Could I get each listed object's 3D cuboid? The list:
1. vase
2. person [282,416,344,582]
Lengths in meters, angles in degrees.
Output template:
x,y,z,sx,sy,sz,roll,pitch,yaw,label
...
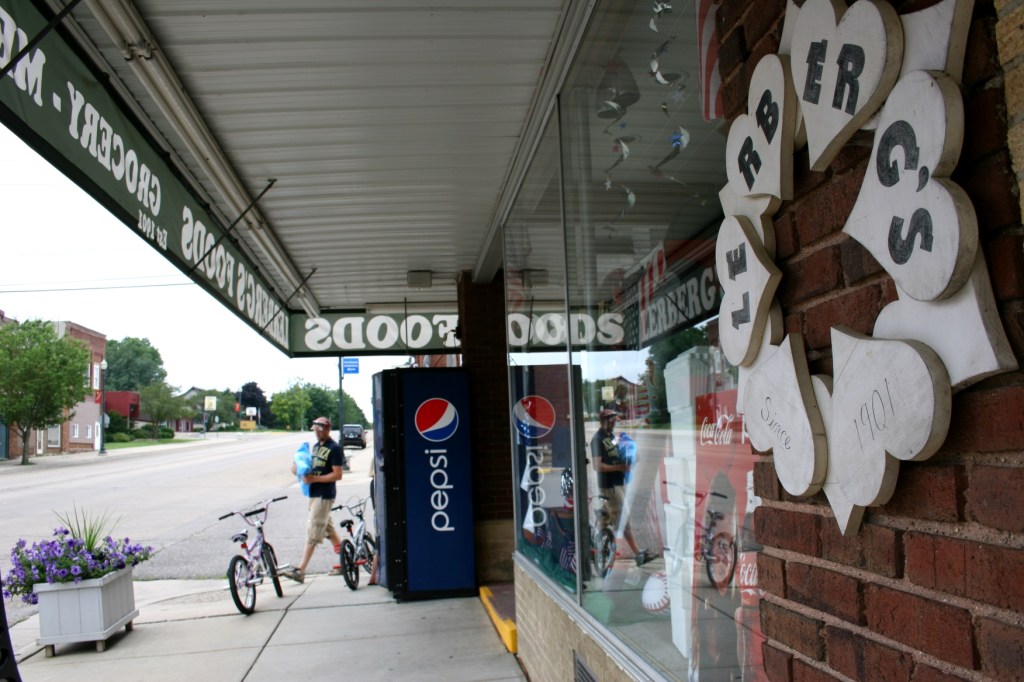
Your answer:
x,y,z,sx,sy,sz,roll,pitch,yaw,label
-3.929,2.195,7.390,0.502,0.746,1.109,1,19,-16,vase
-2.386,1.905,9.848,0.618,2.038,1.594,-1,-8,-12,person
